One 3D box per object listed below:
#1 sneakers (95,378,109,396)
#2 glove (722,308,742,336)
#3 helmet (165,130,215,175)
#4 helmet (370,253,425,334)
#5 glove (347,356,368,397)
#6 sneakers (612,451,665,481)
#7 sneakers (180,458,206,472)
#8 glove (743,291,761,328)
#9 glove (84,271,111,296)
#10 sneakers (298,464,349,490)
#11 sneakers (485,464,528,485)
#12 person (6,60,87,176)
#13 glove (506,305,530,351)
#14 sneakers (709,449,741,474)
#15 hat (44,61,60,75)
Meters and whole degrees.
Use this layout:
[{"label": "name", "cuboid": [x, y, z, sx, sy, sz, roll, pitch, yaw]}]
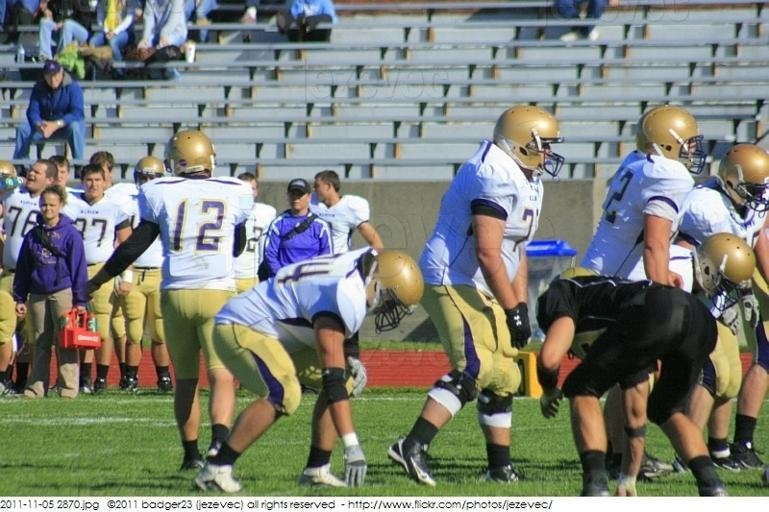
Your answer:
[{"label": "sneakers", "cuboid": [-3.573, 1.664, 19.405, 0.152, 0.190, 0.434, 3, -5, -32]}, {"label": "glove", "cuboid": [3.650, 0.696, 16.077, 0.175, 0.286, 0.089, -24, 29, -28]}, {"label": "helmet", "cuboid": [-2.024, -1.021, 16.384, 0.511, 0.569, 0.607, -7, 6, -17]}, {"label": "helmet", "cuboid": [0.107, 0.357, 15.583, 0.587, 0.573, 0.452, 28, 1, -38]}, {"label": "glove", "cuboid": [-0.293, 1.269, 15.866, 0.166, 0.434, 0.205, -3, 1, 17]}, {"label": "sneakers", "cuboid": [2.595, 2.183, 16.017, 0.685, 0.289, 0.226, -3, 3, -1]}, {"label": "sneakers", "cuboid": [-1.970, 2.155, 15.847, 0.313, 0.130, 0.112, 0, -6, 1]}, {"label": "glove", "cuboid": [3.900, 0.572, 16.325, 0.135, 0.361, 0.278, -7, 9, 17]}, {"label": "glove", "cuboid": [-2.942, 0.349, 16.034, 0.123, 0.290, 0.230, 46, 3, -17]}, {"label": "sneakers", "cuboid": [-0.619, 2.230, 15.504, 0.533, 0.219, 0.181, 4, -3, 0]}, {"label": "sneakers", "cuboid": [1.234, 2.216, 15.695, 0.446, 0.189, 0.162, 1, 17, -7]}, {"label": "person", "cuboid": [-4.940, -2.006, 23.150, 1.033, 1.637, 1.155, 7, 9, 23]}, {"label": "glove", "cuboid": [1.374, 0.733, 15.662, 0.319, 0.381, 0.115, -8, 13, -18]}, {"label": "sneakers", "cuboid": [3.647, 2.170, 16.357, 0.452, 0.200, 0.173, 11, 0, 18]}, {"label": "hat", "cuboid": [-4.888, -2.705, 22.662, 0.237, 0.161, 0.233, 4, 2, -12]}]
